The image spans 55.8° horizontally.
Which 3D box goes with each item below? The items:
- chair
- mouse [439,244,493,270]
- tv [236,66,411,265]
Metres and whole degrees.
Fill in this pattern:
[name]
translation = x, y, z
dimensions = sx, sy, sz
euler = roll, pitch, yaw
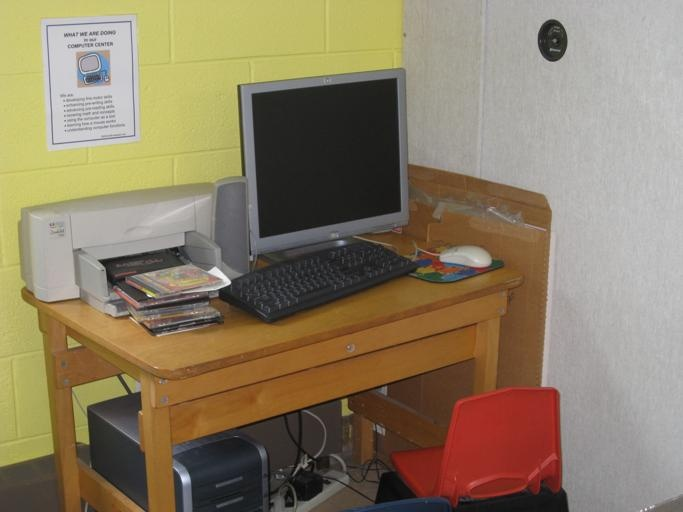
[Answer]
[chair]
translation = 0.372, 0.519, 1.872
dimensions = 0.424, 0.365, 0.362
euler = -5, 17, -18
[mouse]
translation = 0.413, -0.004, 2.107
dimensions = 0.131, 0.045, 0.082
euler = 12, 23, 27
[tv]
translation = -0.063, -0.287, 2.120
dimensions = 0.612, 0.545, 0.054
euler = -10, 11, -30
